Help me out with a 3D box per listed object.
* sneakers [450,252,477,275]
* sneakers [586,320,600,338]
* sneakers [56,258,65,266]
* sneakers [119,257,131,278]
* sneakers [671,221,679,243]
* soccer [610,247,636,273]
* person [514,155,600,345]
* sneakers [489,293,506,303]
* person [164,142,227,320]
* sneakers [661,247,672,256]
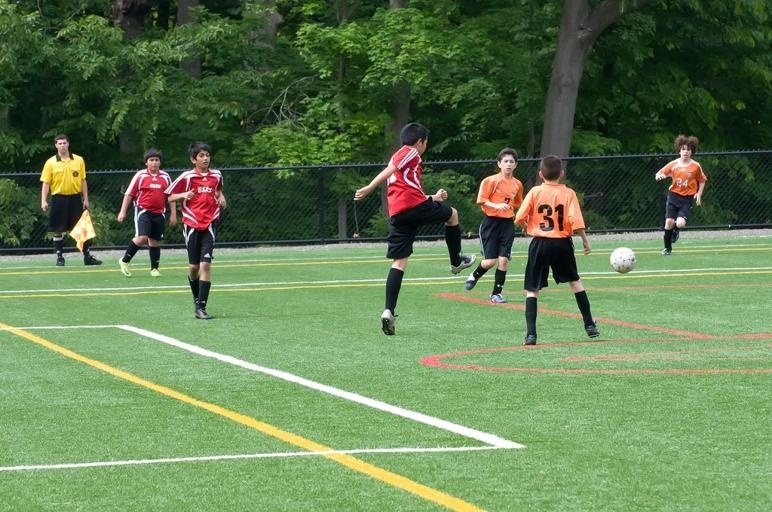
[{"bbox_3d":[1.067,0.085,16.237,0.189,0.213,0.515,17,34,41],"label":"sneakers"},{"bbox_3d":[2.554,0.909,14.708,0.112,0.115,0.293,-3,-1,19],"label":"sneakers"},{"bbox_3d":[-6.231,0.095,22.999,0.132,0.175,0.200,3,5,-15],"label":"sneakers"},{"bbox_3d":[-4.648,0.208,21.328,0.172,0.324,0.128,-13,8,33],"label":"sneakers"},{"bbox_3d":[5.640,-0.490,23.256,0.137,0.392,0.175,11,8,31],"label":"sneakers"},{"bbox_3d":[3.335,0.030,16.466,0.399,0.343,0.368,-1,-11,2],"label":"soccer"},{"bbox_3d":[2.019,-0.055,14.285,0.873,2.246,0.397,1,12,8],"label":"person"},{"bbox_3d":[1.651,0.619,17.374,0.260,0.103,0.098,1,3,37],"label":"sneakers"},{"bbox_3d":[-2.540,-0.324,16.229,0.706,2.412,0.815,-3,12,-7],"label":"person"},{"bbox_3d":[5.492,-0.067,23.324,0.093,0.095,0.265,-2,-8,26],"label":"sneakers"}]
